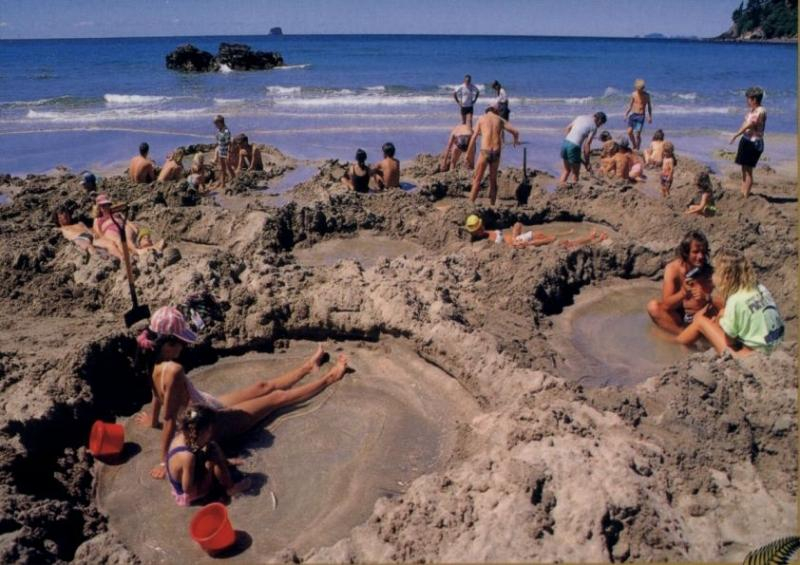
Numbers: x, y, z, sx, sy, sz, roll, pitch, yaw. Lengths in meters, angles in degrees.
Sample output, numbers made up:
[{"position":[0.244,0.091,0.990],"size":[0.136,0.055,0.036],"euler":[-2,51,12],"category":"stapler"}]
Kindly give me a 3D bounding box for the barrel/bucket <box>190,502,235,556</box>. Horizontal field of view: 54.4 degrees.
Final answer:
[{"position":[-2.149,2.797,9.000],"size":[0.523,0.409,0.553],"euler":[-2,56,3],"category":"barrel/bucket"}]

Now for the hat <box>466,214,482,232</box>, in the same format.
[{"position":[1.203,-0.969,12.684],"size":[0.247,0.281,0.226],"euler":[-10,29,-9],"category":"hat"}]

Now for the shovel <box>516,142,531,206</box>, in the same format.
[{"position":[2.469,-2.281,15.448],"size":[0.214,0.244,0.785],"euler":[5,68,-8],"category":"shovel"}]

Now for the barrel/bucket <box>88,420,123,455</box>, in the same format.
[{"position":[-3.635,1.930,9.599],"size":[0.290,0.402,0.421],"euler":[-4,71,-25],"category":"barrel/bucket"}]

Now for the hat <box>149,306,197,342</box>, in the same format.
[{"position":[-2.791,0.554,9.646],"size":[0.530,0.309,0.377],"euler":[10,15,-39],"category":"hat"}]
